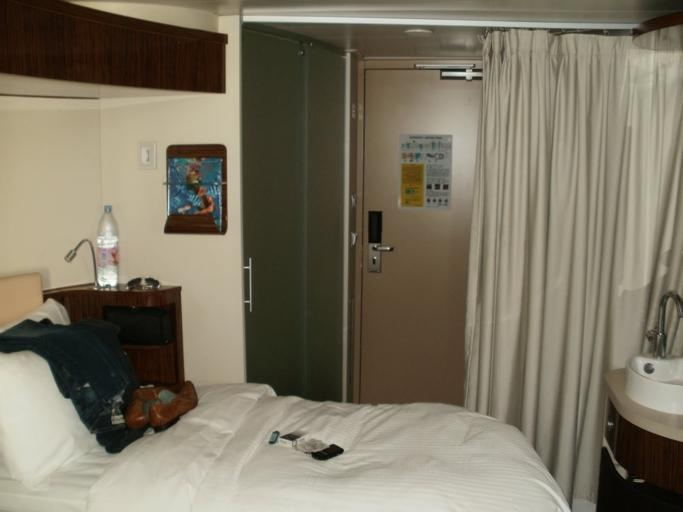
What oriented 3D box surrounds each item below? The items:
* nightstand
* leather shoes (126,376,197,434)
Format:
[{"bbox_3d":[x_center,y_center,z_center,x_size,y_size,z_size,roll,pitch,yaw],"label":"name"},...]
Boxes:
[{"bbox_3d":[-1.349,0.389,3.289,0.745,0.821,0.583,0,4,6],"label":"nightstand"},{"bbox_3d":[-0.849,0.708,2.453,0.177,0.081,0.248,12,17,30],"label":"leather shoes"}]
